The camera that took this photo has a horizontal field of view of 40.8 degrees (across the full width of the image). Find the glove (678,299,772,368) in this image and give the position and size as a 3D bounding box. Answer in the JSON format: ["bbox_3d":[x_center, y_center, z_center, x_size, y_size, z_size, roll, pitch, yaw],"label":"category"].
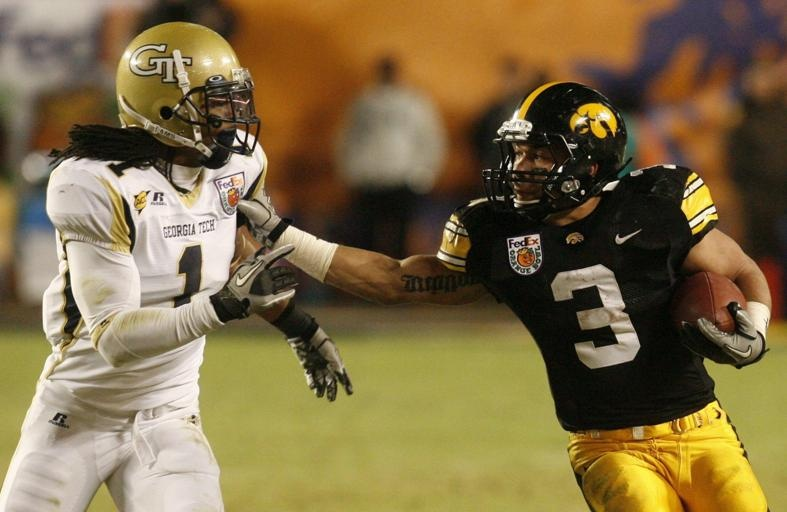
[{"bbox_3d":[1.861,0.405,5.909,0.479,0.220,0.352,4,-28,0],"label":"glove"}]

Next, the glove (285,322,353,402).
[{"bbox_3d":[-0.454,0.640,6.487,0.324,0.515,0.144,-30,2,-3],"label":"glove"}]

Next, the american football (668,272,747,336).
[{"bbox_3d":[1.720,0.287,6.008,0.301,0.291,0.374,-11,-17,-17],"label":"american football"}]
